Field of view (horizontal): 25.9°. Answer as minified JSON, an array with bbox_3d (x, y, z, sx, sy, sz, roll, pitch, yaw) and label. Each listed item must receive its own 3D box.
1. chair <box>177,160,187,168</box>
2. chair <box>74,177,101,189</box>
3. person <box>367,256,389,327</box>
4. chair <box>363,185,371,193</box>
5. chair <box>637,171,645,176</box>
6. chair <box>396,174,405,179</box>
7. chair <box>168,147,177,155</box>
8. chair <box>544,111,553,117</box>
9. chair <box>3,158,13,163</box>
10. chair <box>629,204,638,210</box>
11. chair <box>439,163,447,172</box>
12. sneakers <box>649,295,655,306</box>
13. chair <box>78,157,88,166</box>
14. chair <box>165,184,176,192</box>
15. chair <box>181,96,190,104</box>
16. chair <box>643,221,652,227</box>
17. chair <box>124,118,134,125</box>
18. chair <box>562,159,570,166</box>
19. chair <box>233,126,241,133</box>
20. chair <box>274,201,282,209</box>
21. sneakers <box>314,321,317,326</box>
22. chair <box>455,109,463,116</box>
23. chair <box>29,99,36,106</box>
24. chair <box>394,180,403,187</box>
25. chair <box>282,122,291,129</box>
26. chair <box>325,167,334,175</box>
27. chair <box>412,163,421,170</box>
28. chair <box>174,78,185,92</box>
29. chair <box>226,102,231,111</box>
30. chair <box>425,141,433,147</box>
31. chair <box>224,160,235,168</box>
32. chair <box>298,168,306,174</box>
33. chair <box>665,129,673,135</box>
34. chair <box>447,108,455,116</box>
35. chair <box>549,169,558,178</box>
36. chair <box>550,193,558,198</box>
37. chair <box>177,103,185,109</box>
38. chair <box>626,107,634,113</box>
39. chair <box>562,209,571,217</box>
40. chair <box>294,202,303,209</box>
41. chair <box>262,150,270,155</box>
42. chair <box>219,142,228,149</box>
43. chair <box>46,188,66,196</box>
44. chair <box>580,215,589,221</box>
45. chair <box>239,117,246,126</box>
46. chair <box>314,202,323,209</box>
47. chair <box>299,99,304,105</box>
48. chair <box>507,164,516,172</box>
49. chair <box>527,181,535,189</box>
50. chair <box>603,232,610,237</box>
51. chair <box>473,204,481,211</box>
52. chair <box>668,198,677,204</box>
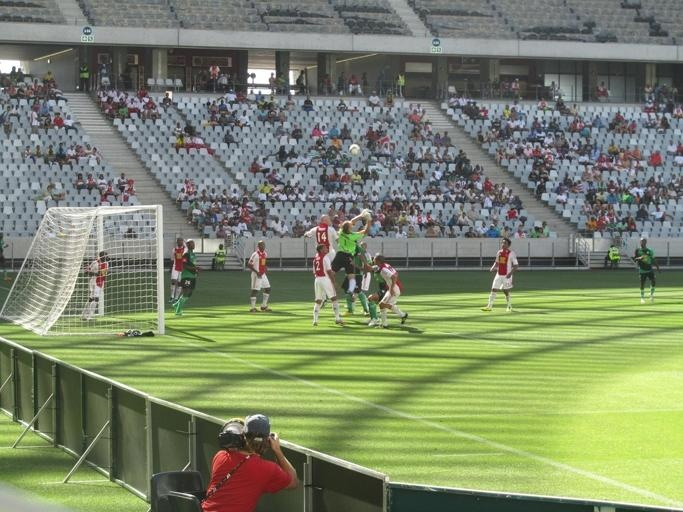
[{"bbox_3d":[-7.095,-4.082,66.164,0.378,0.302,0.388,-2,-6,44],"label":"chair"},{"bbox_3d":[-10.841,-3.031,63.212,1.003,0.373,0.398,-1,12,-12],"label":"chair"},{"bbox_3d":[1.155,1.045,46.929,0.785,2.419,0.794,-11,20,-31],"label":"person"},{"bbox_3d":[1.104,-2.993,67.029,0.397,0.413,0.233,2,-13,-9],"label":"chair"},{"bbox_3d":[14.243,-3.901,70.962,0.255,0.257,0.264,1,7,5],"label":"chair"},{"bbox_3d":[2.658,-3.661,68.243,0.269,0.252,0.285,4,-4,2],"label":"chair"},{"bbox_3d":[-7.582,-4.681,66.640,0.278,0.429,0.300,1,0,-17],"label":"chair"},{"bbox_3d":[10.335,-7.127,74.461,0.499,0.382,0.283,5,21,12],"label":"chair"},{"bbox_3d":[-14.314,-4.099,63.798,0.399,0.207,0.372,-3,13,-20],"label":"chair"},{"bbox_3d":[13.294,-2.257,68.023,0.243,0.328,0.253,0,1,10],"label":"chair"},{"bbox_3d":[4.638,-4.115,69.114,0.353,0.499,0.397,1,1,6],"label":"chair"},{"bbox_3d":[10.940,1.513,52.524,0.160,0.243,0.550,-1,-4,7],"label":"sneakers"},{"bbox_3d":[-11.240,-4.090,64.638,0.350,0.493,0.367,2,-7,-11],"label":"chair"},{"bbox_3d":[-7.427,-2.953,64.570,0.311,0.383,0.290,0,0,41],"label":"chair"},{"bbox_3d":[-7.417,-7.391,70.353,0.421,0.563,0.449,1,1,-10],"label":"chair"},{"bbox_3d":[13.792,-1.440,67.158,0.460,0.210,0.335,-1,12,-12],"label":"chair"},{"bbox_3d":[-9.749,-6.128,67.922,0.266,0.361,0.271,0,0,-18],"label":"chair"},{"bbox_3d":[10.672,-4.463,70.901,0.330,0.258,0.236,6,0,7],"label":"chair"},{"bbox_3d":[-4.855,-5.826,68.976,0.274,0.437,0.303,4,-5,-11],"label":"chair"},{"bbox_3d":[-2.799,-2.224,65.046,0.288,0.287,0.303,-1,-1,18],"label":"chair"},{"bbox_3d":[-0.820,2.087,46.647,0.110,0.114,0.112,3,-2,-21],"label":"sneakers"},{"bbox_3d":[5.765,-7.063,73.194,0.292,0.431,0.280,0,3,-4],"label":"chair"},{"bbox_3d":[-13.996,-6.906,67.187,0.365,0.395,0.208,0,-6,-6],"label":"chair"},{"bbox_3d":[2.534,-3.299,67.740,0.265,0.266,0.147,4,-29,-11],"label":"chair"},{"bbox_3d":[-2.611,-6.137,70.001,0.296,0.467,0.322,0,9,-15],"label":"chair"},{"bbox_3d":[-0.535,-3.838,67.358,0.430,0.268,0.644,1,12,-4],"label":"chair"},{"bbox_3d":[3.434,-4.177,68.897,0.410,0.431,0.233,1,-13,0],"label":"chair"},{"bbox_3d":[-7.826,-8.201,71.393,0.490,0.675,0.519,-1,2,-27],"label":"chair"},{"bbox_3d":[-5.381,-7.006,70.285,0.313,0.499,0.327,-1,4,-23],"label":"chair"},{"bbox_3d":[4.094,-5.301,70.393,0.264,0.392,0.303,1,-2,3],"label":"chair"},{"bbox_3d":[-5.046,-4.134,66.980,0.315,0.445,0.327,1,6,-9],"label":"chair"},{"bbox_3d":[-1.818,-3.840,67.213,0.333,0.285,0.344,1,12,-3],"label":"chair"},{"bbox_3d":[16.343,-6.201,74.422,0.447,0.324,0.252,1,7,13],"label":"chair"},{"bbox_3d":[5.365,-7.080,73.266,0.348,0.356,0.330,4,-5,-43],"label":"chair"},{"bbox_3d":[9.907,-3.829,69.728,0.377,0.344,0.585,4,12,8],"label":"chair"},{"bbox_3d":[9.676,-2.772,68.015,0.339,0.161,0.259,4,12,10],"label":"chair"},{"bbox_3d":[-7.546,-7.020,69.874,0.265,0.390,0.368,1,6,-11],"label":"chair"},{"bbox_3d":[14.660,-7.432,75.789,0.334,0.250,0.344,3,11,15],"label":"chair"},{"bbox_3d":[10.144,-1.946,67.168,0.271,0.195,0.274,-1,-3,1],"label":"chair"},{"bbox_3d":[-1.891,-2.206,65.224,0.271,0.381,0.304,1,-4,-6],"label":"chair"},{"bbox_3d":[-3.408,-4.721,68.004,0.273,0.216,0.155,7,16,21],"label":"chair"},{"bbox_3d":[-5.386,-5.003,67.823,0.248,0.378,0.268,1,-2,-13],"label":"chair"},{"bbox_3d":[-12.018,-2.729,62.668,0.640,0.427,1.069,1,12,-3],"label":"chair"},{"bbox_3d":[10.861,-1.726,66.794,0.261,0.236,0.200,5,-15,1],"label":"chair"},{"bbox_3d":[-4.633,-6.264,69.308,0.370,0.379,0.210,1,-7,-9],"label":"chair"},{"bbox_3d":[-1.036,-2.219,65.532,0.333,0.297,0.303,2,-6,-6],"label":"chair"},{"bbox_3d":[-1.951,-7.435,71.980,0.259,0.273,0.242,4,10,11],"label":"chair"},{"bbox_3d":[7.947,-4.122,69.576,0.457,0.277,0.328,-6,8,-19],"label":"chair"},{"bbox_3d":[8.693,-3.287,68.565,0.267,0.399,0.320,0,-1,9],"label":"chair"},{"bbox_3d":[11.796,-0.979,66.314,0.307,0.318,0.166,2,18,3],"label":"chair"},{"bbox_3d":[6.052,-2.210,66.631,0.281,0.447,0.317,1,-6,-3],"label":"chair"},{"bbox_3d":[15.279,-2.546,68.942,0.258,0.188,0.261,-4,7,-17],"label":"chair"}]
